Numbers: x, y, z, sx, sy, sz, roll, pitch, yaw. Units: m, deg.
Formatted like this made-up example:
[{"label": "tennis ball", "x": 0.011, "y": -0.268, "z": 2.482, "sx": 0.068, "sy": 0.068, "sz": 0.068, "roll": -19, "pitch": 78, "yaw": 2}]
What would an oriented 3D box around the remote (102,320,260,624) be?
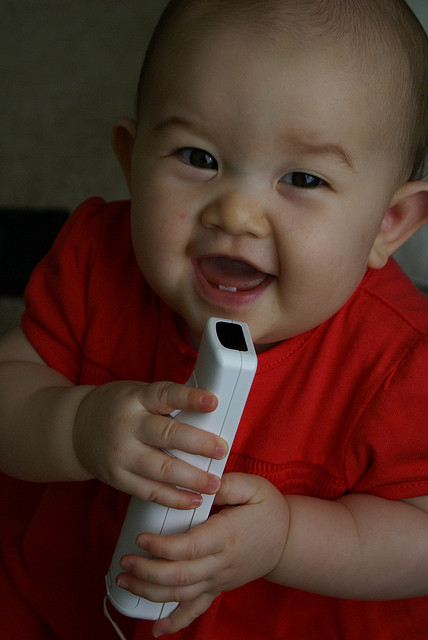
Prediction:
[{"label": "remote", "x": -0.049, "y": 0.168, "z": 0.560, "sx": 0.140, "sy": 0.413, "sz": 0.148, "roll": -11, "pitch": 34, "yaw": -16}]
